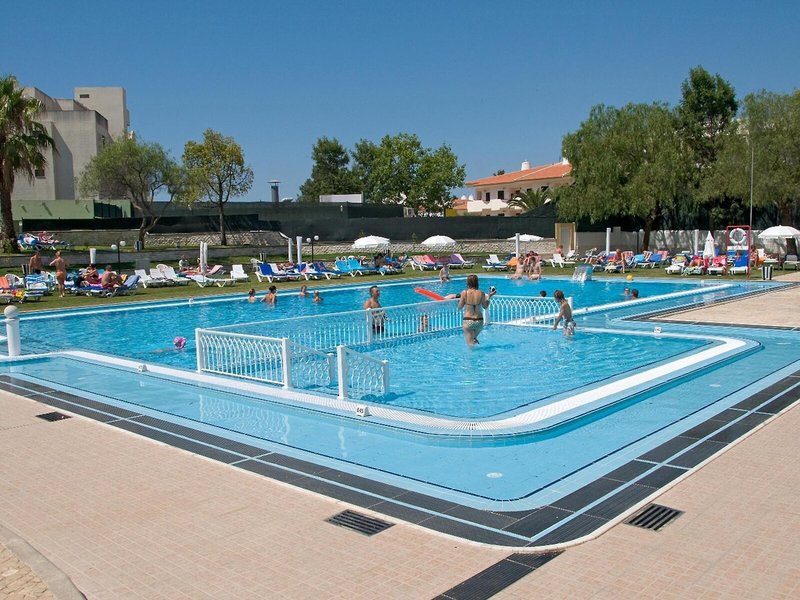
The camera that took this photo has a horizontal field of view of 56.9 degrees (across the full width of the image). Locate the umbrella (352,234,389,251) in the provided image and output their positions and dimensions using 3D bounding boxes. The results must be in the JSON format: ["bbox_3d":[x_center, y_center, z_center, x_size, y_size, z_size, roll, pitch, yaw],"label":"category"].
[{"bbox_3d":[-1.750,-3.022,39.437,1.827,0.589,1.651,-7,7,-21],"label":"umbrella"}]

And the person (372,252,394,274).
[{"bbox_3d":[-0.901,-1.888,38.379,1.002,1.161,0.519,0,-26,-2],"label":"person"}]

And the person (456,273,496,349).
[{"bbox_3d":[1.425,0.249,14.536,0.556,1.532,0.866,-1,8,5],"label":"person"}]

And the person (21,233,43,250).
[{"bbox_3d":[-18.914,-2.950,37.949,0.931,0.724,0.853,-5,8,-22],"label":"person"}]

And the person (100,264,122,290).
[{"bbox_3d":[-10.603,-0.783,27.066,0.708,0.855,1.147,-2,7,0],"label":"person"}]

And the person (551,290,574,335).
[{"bbox_3d":[3.637,0.217,16.621,0.459,1.005,1.614,0,7,12],"label":"person"}]
